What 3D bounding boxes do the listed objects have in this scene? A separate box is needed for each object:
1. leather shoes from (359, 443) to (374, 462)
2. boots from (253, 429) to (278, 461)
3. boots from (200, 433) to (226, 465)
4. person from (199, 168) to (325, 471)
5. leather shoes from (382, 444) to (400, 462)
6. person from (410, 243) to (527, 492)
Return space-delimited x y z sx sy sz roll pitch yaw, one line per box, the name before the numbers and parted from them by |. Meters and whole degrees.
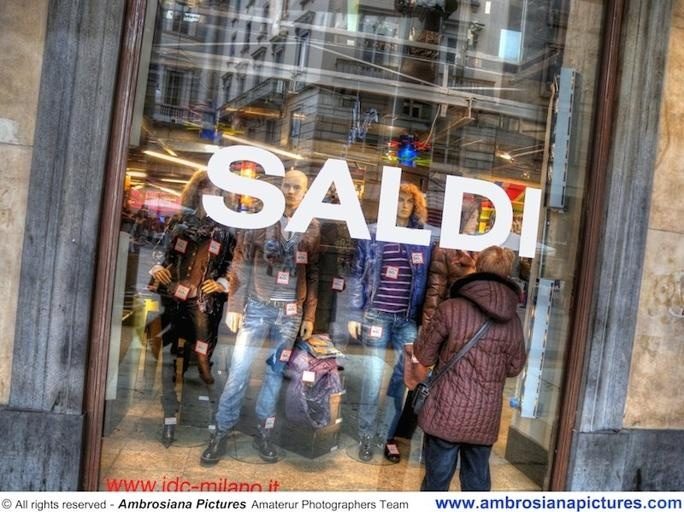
leather shoes | 0.182 1.396 4.989 0.109 0.154 0.088 9 2 4
boots | -0.522 1.297 4.824 0.112 0.171 0.284 -7 16 -29
boots | -0.853 1.297 4.723 0.154 0.192 0.218 9 3 -3
person | -0.493 0.407 4.868 0.648 1.907 0.488 9 2 -9
leather shoes | 0.376 1.425 5.024 0.129 0.132 0.092 9 2 -8
person | 0.705 0.662 3.983 0.644 1.399 0.311 10 2 13
